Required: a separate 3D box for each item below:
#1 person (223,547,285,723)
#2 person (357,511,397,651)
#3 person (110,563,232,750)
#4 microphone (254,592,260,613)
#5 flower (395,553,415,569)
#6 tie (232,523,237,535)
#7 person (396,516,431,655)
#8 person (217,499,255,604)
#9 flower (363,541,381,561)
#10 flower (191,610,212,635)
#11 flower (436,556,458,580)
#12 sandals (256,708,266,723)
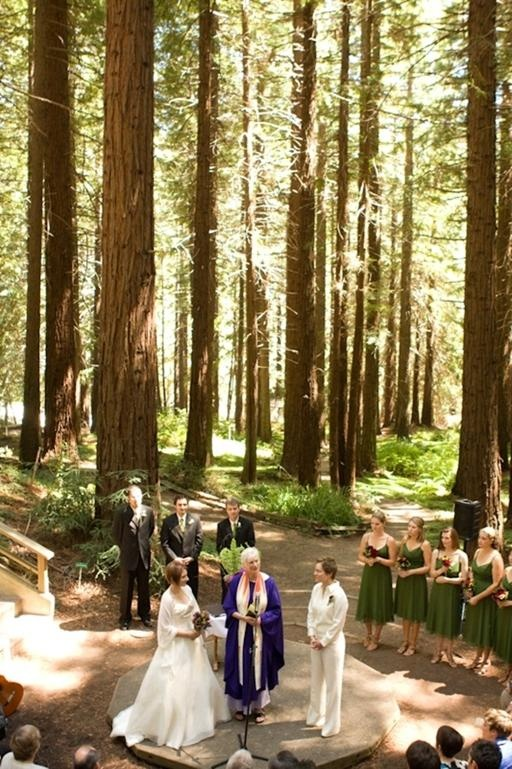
[{"bbox_3d":[-0.018,2.453,7.665,0.559,1.670,0.535,2,5,8],"label":"person"},{"bbox_3d":[1.458,2.393,9.625,0.460,1.181,0.525,5,3,12],"label":"person"},{"bbox_3d":[-0.809,2.499,7.491,1.089,1.563,0.933,-2,1,-37],"label":"person"},{"bbox_3d":[0.005,2.108,7.586,0.066,0.192,0.036,4,3,-8],"label":"microphone"},{"bbox_3d":[1.776,2.144,9.473,0.182,0.132,0.102,7,3,13],"label":"flower"},{"bbox_3d":[-0.281,1.829,10.041,0.036,0.182,0.047,-3,-23,7],"label":"tie"},{"bbox_3d":[1.903,2.459,9.667,0.401,1.208,0.596,5,3,13],"label":"person"},{"bbox_3d":[-0.257,2.272,10.113,0.435,1.605,0.445,-1,10,-2],"label":"person"},{"bbox_3d":[1.378,2.008,9.491,0.132,0.080,0.144,11,31,16],"label":"flower"},{"bbox_3d":[-0.493,2.266,7.415,0.153,0.195,0.174,10,38,41],"label":"flower"},{"bbox_3d":[2.250,2.135,9.234,0.166,0.260,0.112,5,16,23],"label":"flower"},{"bbox_3d":[0.037,3.218,7.656,0.088,0.073,0.276,-1,-3,-1],"label":"sandals"}]
